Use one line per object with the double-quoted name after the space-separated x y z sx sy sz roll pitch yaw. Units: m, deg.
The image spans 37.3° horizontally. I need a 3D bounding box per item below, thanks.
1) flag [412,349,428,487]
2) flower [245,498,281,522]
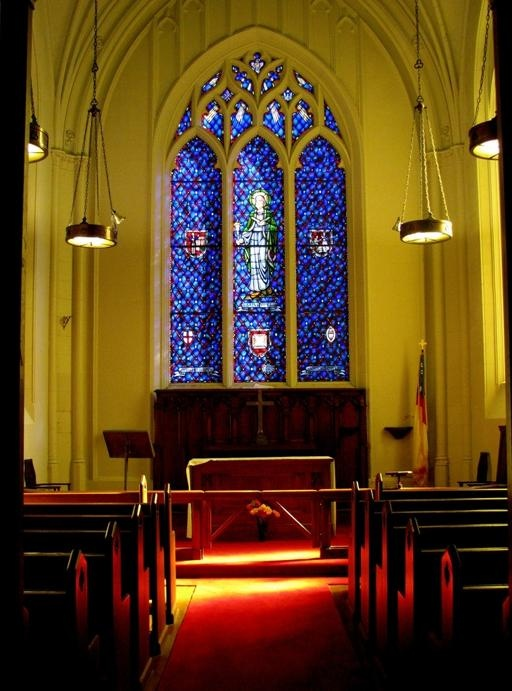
2.166 0.901 10.018 0.198 1.828 0.571 -1 -3 13 "flag"
0.084 1.716 7.961 0.327 0.301 0.681 0 -3 4 "flower"
